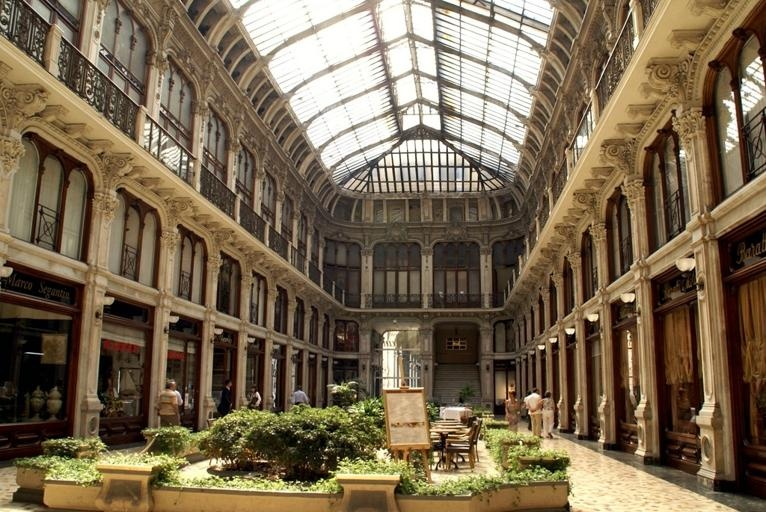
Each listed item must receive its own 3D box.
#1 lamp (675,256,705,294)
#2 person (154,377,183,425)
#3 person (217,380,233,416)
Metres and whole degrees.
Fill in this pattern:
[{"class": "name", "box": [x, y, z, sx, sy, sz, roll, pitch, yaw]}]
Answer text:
[{"class": "lamp", "box": [6.161, 0.450, 12.199, 0.436, 0.701, 0.485, -8, -9, 31]}, {"class": "person", "box": [-5.086, 3.525, 14.437, 0.524, 1.205, 2.051, 7, -21, -19]}, {"class": "person", "box": [-4.924, 4.561, 18.670, 0.501, 1.278, 0.482, 3, 7, -16]}]
